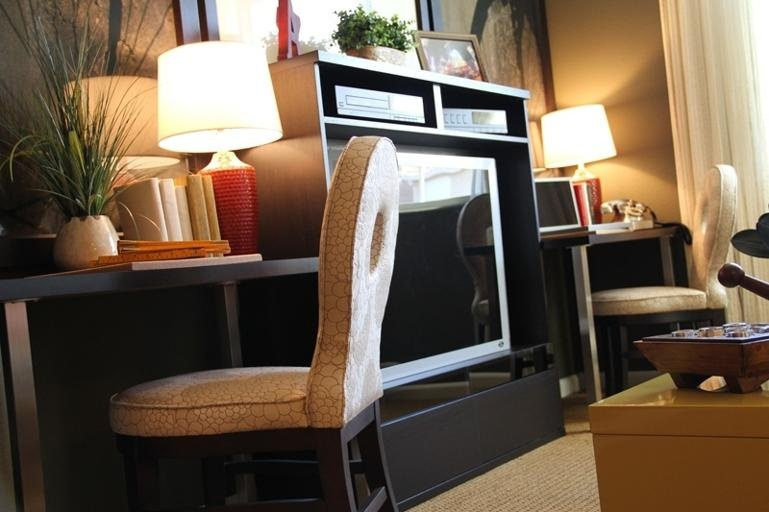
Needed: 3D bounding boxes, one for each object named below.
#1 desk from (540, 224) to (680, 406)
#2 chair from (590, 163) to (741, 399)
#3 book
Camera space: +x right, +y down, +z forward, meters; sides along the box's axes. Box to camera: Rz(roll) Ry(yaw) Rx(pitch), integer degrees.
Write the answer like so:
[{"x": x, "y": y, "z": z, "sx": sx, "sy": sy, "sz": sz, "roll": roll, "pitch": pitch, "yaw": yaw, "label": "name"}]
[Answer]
[{"x": 1.185, "y": 0.293, "z": 3.131, "sx": 0.579, "sy": 0.660, "sz": 1.132, "roll": 0, "pitch": 3, "yaw": 29, "label": "desk"}, {"x": 1.487, "y": 0.145, "z": 3.153, "sx": 0.704, "sy": 1.204, "sz": 0.397, "roll": -2, "pitch": 4, "yaw": 19, "label": "chair"}, {"x": -0.691, "y": -0.040, "z": 1.916, "sx": 0.420, "sy": 0.391, "sz": 0.319, "roll": -5, "pitch": 2, "yaw": 39, "label": "book"}]
